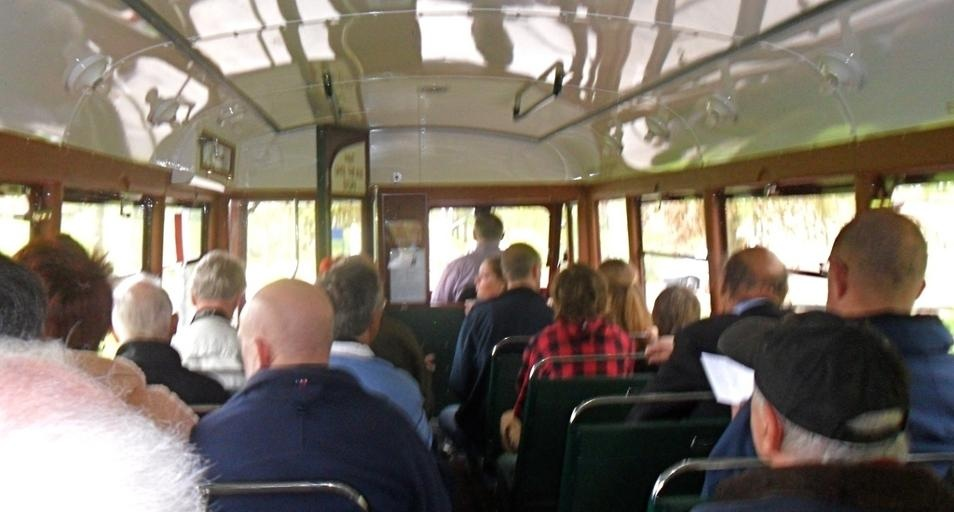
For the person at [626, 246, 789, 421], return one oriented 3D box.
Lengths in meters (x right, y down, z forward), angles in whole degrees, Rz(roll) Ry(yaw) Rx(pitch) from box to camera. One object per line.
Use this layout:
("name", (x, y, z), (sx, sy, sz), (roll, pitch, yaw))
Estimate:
("person", (1.280, 0.428, 3.874), (0.693, 0.592, 1.036), (7, -37, -6))
